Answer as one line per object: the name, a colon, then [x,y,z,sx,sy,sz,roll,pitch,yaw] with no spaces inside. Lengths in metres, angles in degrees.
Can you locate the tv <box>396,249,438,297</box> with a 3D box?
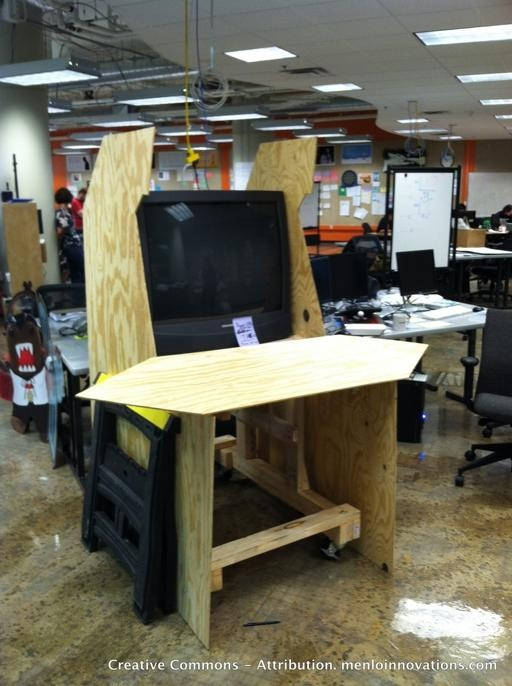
tv: [1.179,-0.510,4.000,0.507,0.473,0.051,-6,5,-31]

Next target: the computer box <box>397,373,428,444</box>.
computer box: [0.948,0.405,3.349,0.158,0.421,0.169,2,10,15]

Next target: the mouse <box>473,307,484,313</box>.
mouse: [1.540,-0.240,3.777,0.047,0.026,0.080,1,8,30]

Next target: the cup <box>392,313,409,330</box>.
cup: [0.874,-0.137,3.273,0.111,0.116,0.113,0,5,0]

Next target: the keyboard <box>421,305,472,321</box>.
keyboard: [1.301,-0.211,3.699,0.163,0.039,0.287,9,14,40]

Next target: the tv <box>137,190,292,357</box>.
tv: [-0.164,-0.248,1.914,0.536,0.493,0.282,-13,18,-34]

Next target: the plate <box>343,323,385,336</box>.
plate: [0.621,-0.072,3.100,0.238,0.053,0.401,2,9,12]
